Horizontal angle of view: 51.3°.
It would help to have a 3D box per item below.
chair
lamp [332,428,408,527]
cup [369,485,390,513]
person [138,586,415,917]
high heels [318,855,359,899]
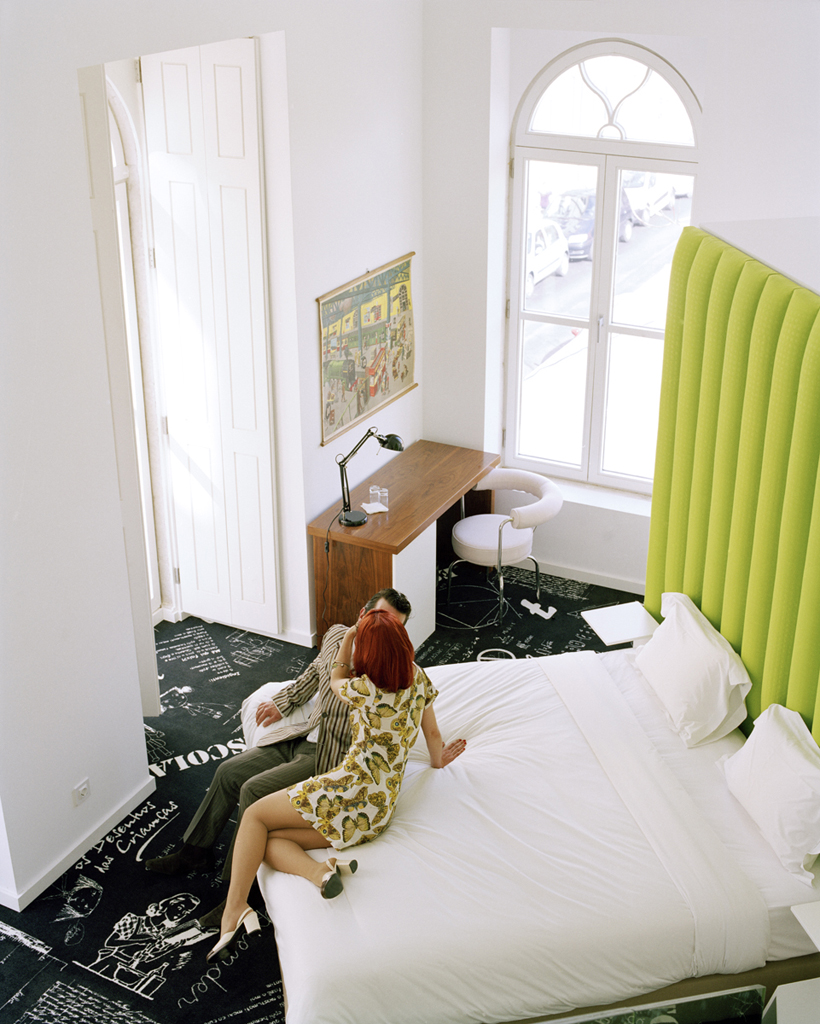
[{"bbox_3d":[0.591,0.295,5.633,0.675,0.912,0.744,-10,27,-23],"label":"chair"},{"bbox_3d":[-0.266,-0.276,5.044,0.362,0.522,0.699,-4,21,-5],"label":"lamp"},{"bbox_3d":[-0.172,-0.068,5.088,0.088,0.156,0.157,1,18,5],"label":"cup"},{"bbox_3d":[-0.550,0.968,3.410,0.801,1.377,0.580,14,21,-16],"label":"person"},{"bbox_3d":[-0.224,1.114,2.598,0.050,0.063,0.163,-2,25,11],"label":"high heels"}]
